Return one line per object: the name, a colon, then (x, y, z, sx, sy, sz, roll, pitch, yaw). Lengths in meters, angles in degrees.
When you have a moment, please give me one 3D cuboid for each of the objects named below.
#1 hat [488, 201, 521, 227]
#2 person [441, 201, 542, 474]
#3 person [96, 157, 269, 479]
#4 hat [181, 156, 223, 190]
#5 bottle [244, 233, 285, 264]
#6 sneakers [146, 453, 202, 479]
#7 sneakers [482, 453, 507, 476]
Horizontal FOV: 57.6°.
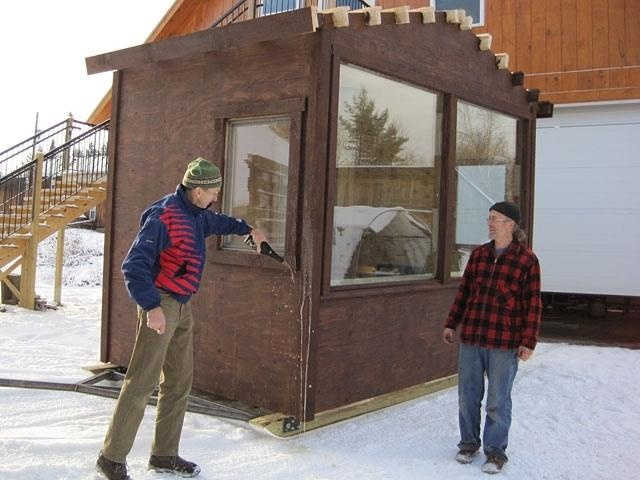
hat: (1.700, -0.249, 5.377, 0.217, 0.152, 0.216, 22, 3, 3)
person: (1.555, 0.832, 5.321, 0.813, 2.353, 0.622, 3, 5, 17)
person: (-1.311, 0.642, 4.809, 0.504, 2.630, 0.883, 5, 6, 38)
hat: (-0.992, -0.582, 4.987, 0.252, 0.178, 0.267, 0, 11, -2)
bottle: (-0.558, 0.086, 5.791, 0.395, 0.099, 0.113, 32, -30, -22)
sneakers: (-1.237, 1.888, 4.899, 0.450, 0.233, 0.173, 3, 2, -5)
sneakers: (1.539, 1.973, 5.158, 0.114, 0.093, 0.217, 5, -4, 33)
